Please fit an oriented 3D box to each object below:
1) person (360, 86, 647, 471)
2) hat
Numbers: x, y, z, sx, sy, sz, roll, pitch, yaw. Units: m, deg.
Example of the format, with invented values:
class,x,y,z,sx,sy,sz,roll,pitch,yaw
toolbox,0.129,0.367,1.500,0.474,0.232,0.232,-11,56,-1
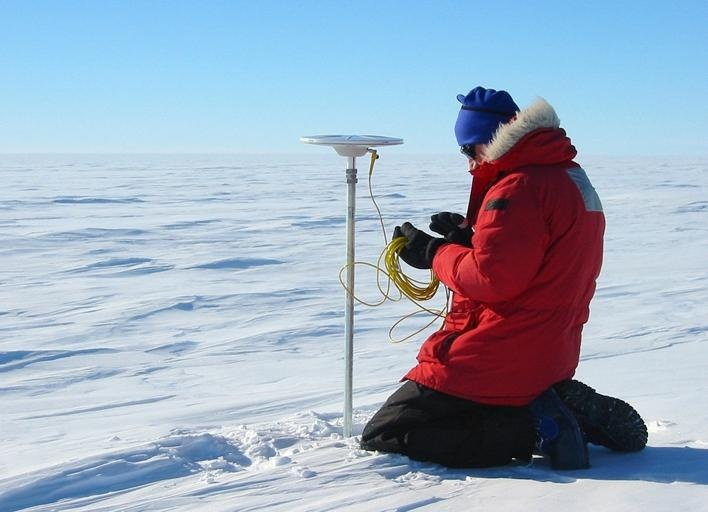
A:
class,x,y,z,sx,sy,sz,roll,pitch,yaw
person,0.841,0.142,3.513,1.398,2.036,0.661,2,17,14
hat,0.841,-0.767,3.621,0.556,0.292,0.324,0,18,17
